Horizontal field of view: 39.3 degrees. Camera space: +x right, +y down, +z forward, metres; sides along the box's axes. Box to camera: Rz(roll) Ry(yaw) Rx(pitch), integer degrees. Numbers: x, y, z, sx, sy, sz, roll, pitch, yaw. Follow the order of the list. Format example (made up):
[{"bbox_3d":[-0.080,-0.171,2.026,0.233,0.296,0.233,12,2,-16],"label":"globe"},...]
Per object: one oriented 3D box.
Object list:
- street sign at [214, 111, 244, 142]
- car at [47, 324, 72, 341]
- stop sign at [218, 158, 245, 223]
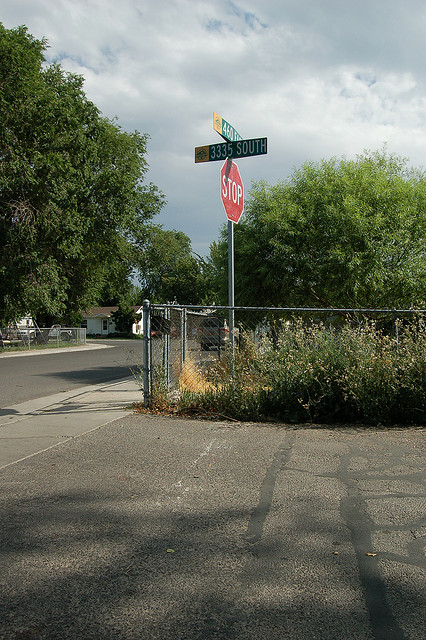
[{"bbox_3d":[0.249,-2.840,9.055,0.170,0.407,0.921,-1,0,21],"label":"street sign"},{"bbox_3d":[-10.423,0.863,40.633,1.807,0.908,1.107,3,-1,-6],"label":"car"},{"bbox_3d":[0.290,-2.005,9.125,0.019,1.047,1.072,-2,-3,23],"label":"stop sign"}]
